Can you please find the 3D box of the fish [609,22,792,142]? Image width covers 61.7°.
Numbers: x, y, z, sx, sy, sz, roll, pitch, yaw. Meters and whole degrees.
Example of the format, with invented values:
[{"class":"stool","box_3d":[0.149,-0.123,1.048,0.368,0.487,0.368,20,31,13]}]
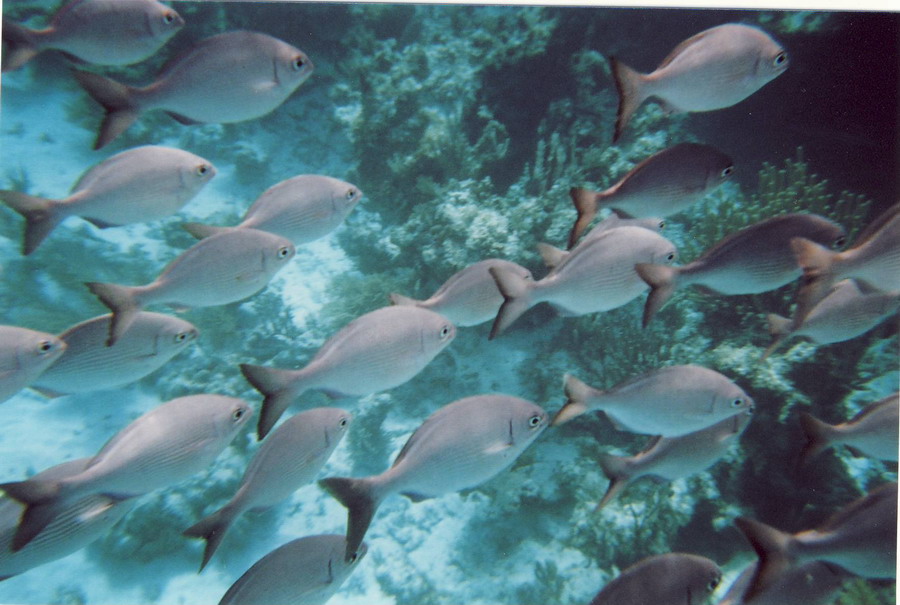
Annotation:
[{"class":"fish","box_3d":[1.447,-1.335,4.543,0.920,0.732,0.364,2,41,-25]}]
